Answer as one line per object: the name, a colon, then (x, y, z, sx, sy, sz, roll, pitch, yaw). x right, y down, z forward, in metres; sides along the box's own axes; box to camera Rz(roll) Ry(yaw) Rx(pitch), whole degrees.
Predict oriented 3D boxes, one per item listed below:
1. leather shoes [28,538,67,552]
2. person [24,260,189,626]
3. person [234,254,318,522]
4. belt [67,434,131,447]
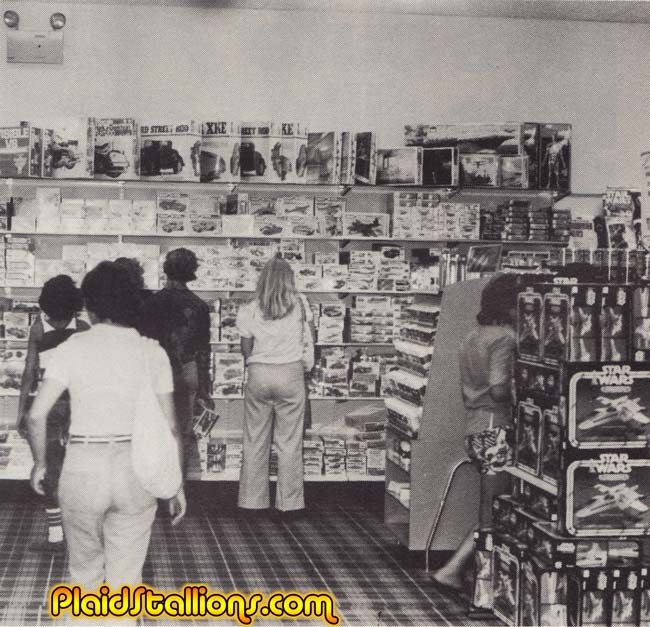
leather shoes: (-1.399, 1.153, 5.018, 0.191, 0.073, 0.070, 6, -8, 1)
person: (-0.954, 0.503, 4.283, 0.612, 1.333, 0.390, 1, 7, -8)
person: (-0.297, 0.409, 5.827, 0.449, 1.475, 0.323, 1, 7, -4)
belt: (-0.938, 0.520, 4.130, 0.259, 0.041, 0.029, 1, 7, -6)
